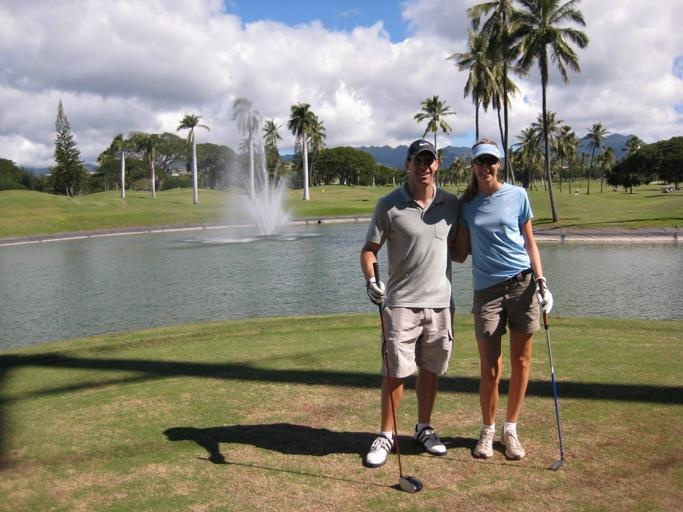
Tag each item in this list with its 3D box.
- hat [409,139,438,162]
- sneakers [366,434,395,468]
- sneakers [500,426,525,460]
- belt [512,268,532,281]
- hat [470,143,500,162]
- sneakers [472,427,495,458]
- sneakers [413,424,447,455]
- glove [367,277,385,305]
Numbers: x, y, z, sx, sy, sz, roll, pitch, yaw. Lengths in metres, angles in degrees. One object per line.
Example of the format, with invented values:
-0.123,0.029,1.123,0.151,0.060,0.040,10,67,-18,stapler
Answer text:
0.730,-0.965,5.102,0.269,0.180,0.207,0,7,7,hat
0.345,1.735,5.033,0.133,0.149,0.370,2,-1,22,sneakers
1.569,1.668,5.120,0.201,0.255,0.311,0,7,11,sneakers
1.677,0.168,5.188,0.207,0.099,0.021,-3,7,-13,belt
1.345,-0.977,5.231,0.265,0.146,0.176,0,7,10,hat
1.269,1.695,5.015,0.129,0.150,0.329,0,-7,17,sneakers
0.823,1.685,5.167,0.136,0.161,0.355,-1,1,-27,sneakers
0.300,0.321,5.050,0.170,0.237,0.112,-20,4,-44,glove
